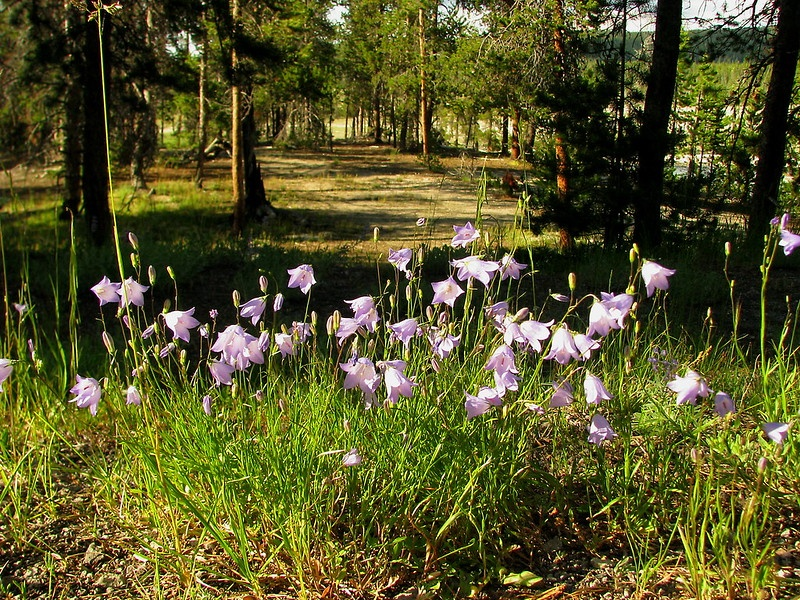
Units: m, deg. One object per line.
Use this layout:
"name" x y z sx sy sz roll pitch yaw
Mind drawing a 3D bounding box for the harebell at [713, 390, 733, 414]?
"harebell" 1.683 0.533 4.113 0.095 0.121 0.063 -19 11 4

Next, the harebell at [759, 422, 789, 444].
"harebell" 1.848 0.637 3.858 0.048 0.132 0.108 15 -27 -13
